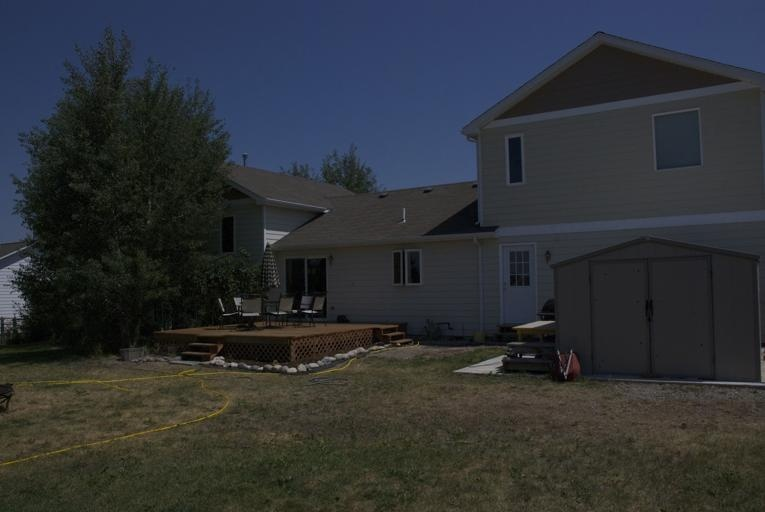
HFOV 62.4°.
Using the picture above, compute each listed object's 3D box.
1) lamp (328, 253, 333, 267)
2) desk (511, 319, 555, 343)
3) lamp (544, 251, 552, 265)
[{"bbox_3d":[-2.090,0.147,25.394,0.278,0.452,0.104,-3,-5,11],"label":"lamp"},{"bbox_3d":[4.406,2.159,18.251,0.986,0.598,3.422,-3,-6,13],"label":"desk"},{"bbox_3d":[5.602,0.038,21.491,0.189,0.467,0.211,1,-6,-22],"label":"lamp"}]
